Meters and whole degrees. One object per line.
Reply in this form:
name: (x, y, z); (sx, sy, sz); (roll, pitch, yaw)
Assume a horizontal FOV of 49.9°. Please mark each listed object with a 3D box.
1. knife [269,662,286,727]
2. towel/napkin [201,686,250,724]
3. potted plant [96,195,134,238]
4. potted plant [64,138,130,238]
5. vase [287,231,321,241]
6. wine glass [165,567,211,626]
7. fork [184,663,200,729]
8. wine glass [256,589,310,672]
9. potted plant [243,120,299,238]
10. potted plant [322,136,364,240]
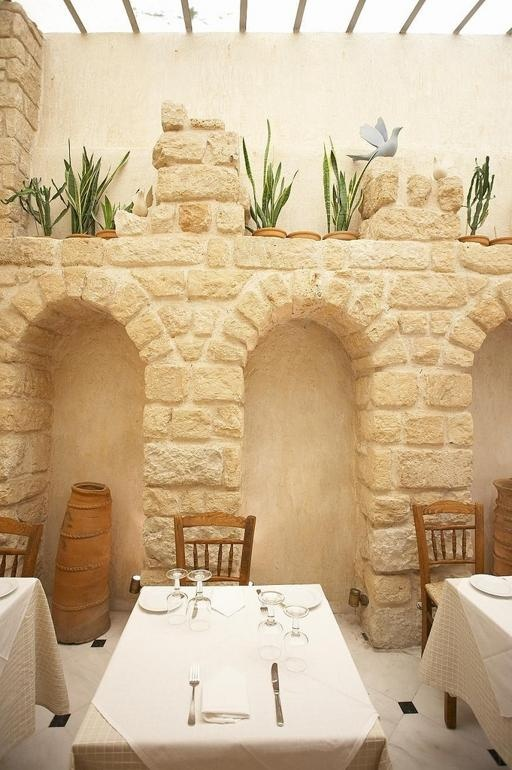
knife: (0.051, 0.777, 1.383); (0.015, 0.127, 0.006); (-5, -29, -4)
towel/napkin: (-0.076, 0.781, 1.344); (0.121, 0.016, 0.097); (-1, 12, 2)
potted plant: (-0.750, -0.899, 2.920); (0.192, 0.263, 0.596); (-4, 12, -14)
potted plant: (-0.912, -1.071, 3.072); (0.338, 0.551, 0.342); (1, -13, 1)
vase: (0.236, -0.739, 2.733); (0.166, 0.051, 0.134); (-1, 12, 5)
wine glass: (-0.228, 0.712, 1.841); (0.195, 0.205, 0.097); (1, -11, -7)
fork: (-0.156, 0.766, 1.357); (0.019, 0.159, 0.017); (4, 5, -1)
wine glass: (0.039, 0.725, 1.641); (0.086, 0.205, 0.211); (2, -6, -17)
potted plant: (0.069, -1.144, 2.963); (0.311, 0.664, 0.679); (-1, 11, 3)
potted plant: (0.470, -1.092, 2.996); (0.230, 0.563, 0.597); (0, 11, 8)
